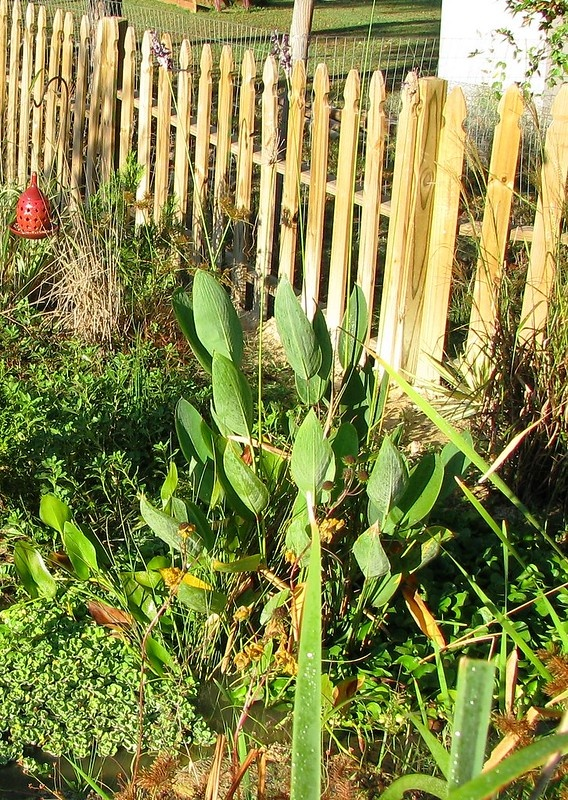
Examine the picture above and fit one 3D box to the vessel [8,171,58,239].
[{"bbox_3d":[-1.220,-0.945,3.024,0.231,0.300,0.241,-2,26,-28],"label":"vessel"}]
